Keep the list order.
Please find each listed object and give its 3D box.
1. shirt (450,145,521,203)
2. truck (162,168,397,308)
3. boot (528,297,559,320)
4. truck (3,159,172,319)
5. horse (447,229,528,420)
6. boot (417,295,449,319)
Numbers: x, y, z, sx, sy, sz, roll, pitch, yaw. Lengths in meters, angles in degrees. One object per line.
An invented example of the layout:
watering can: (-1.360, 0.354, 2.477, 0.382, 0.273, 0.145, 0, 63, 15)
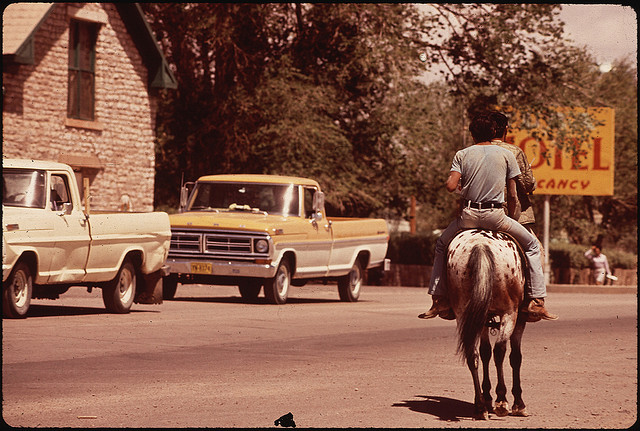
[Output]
shirt: (2.145, -0.566, 11.623, 0.987, 0.758, 0.401, 4, 2, 12)
truck: (-0.949, 0.616, 22.997, 3.254, 2.198, 5.686, -1, -4, 26)
boot: (2.983, 1.223, 11.737, 0.517, 0.353, 0.221, 1, 1, -9)
truck: (-4.852, 0.491, 17.676, 1.177, 3.028, 4.138, 1, -3, 28)
horse: (2.157, 1.345, 11.287, 1.039, 2.338, 0.812, 2, -2, 6)
boot: (1.561, 1.219, 11.962, 0.373, 0.320, 0.408, 1, -2, 7)
